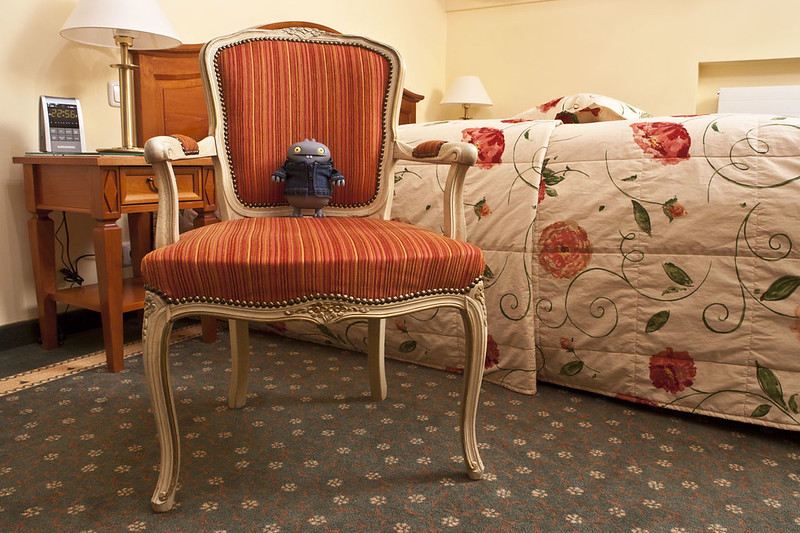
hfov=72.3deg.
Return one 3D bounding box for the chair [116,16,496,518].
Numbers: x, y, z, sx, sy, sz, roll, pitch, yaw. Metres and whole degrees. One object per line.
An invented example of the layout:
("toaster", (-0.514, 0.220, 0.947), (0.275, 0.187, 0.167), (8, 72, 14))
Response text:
("chair", (-0.279, -0.089, 1.775), (1.002, 1.422, 0.805), (-3, 16, -9))
